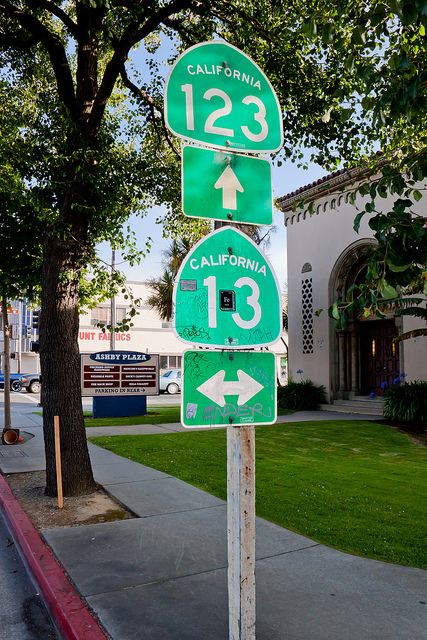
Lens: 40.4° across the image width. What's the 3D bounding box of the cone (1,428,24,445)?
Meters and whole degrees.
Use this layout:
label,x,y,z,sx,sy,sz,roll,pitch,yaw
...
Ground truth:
label,x,y,z,sx,sy,sz,roll,pitch,yaw
cone,-3.992,2.261,11.309,0.264,0.239,0.376,-1,2,-25
